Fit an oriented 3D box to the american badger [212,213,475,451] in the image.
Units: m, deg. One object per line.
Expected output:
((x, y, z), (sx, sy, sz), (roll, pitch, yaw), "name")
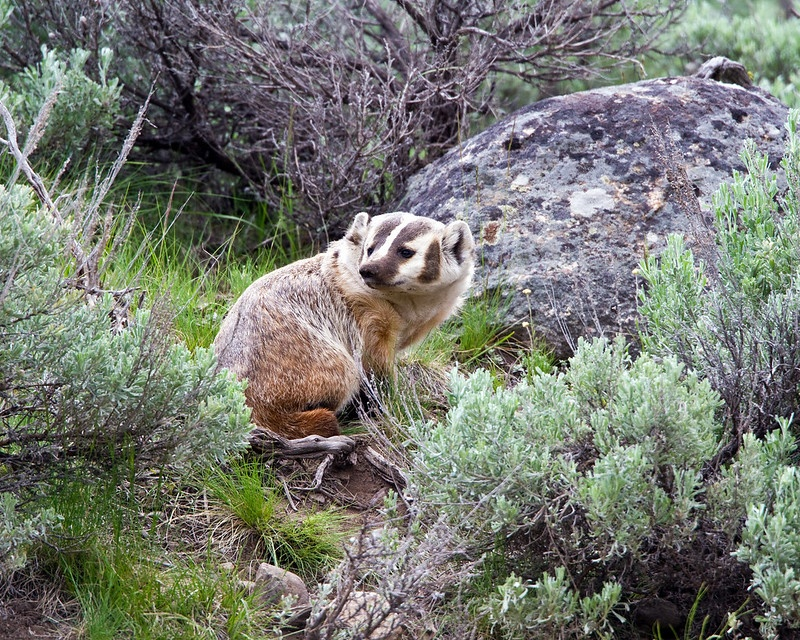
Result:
((-0.350, 0.052, 4.803), (1.477, 1.174, 0.785), (-23, 10, -24), "american badger")
